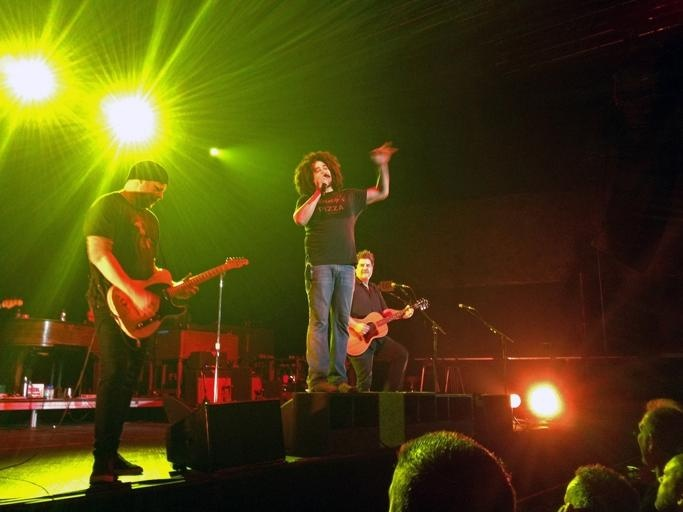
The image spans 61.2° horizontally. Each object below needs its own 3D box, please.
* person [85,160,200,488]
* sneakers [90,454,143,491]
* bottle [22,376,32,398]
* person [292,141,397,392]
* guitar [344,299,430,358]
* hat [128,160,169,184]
[{"bbox_3d":[-1.893,0.474,4.874,0.725,2.732,0.408,9,-20,-20],"label":"person"},{"bbox_3d":[-1.823,1.707,4.546,0.161,0.289,0.480,-20,-20,37],"label":"sneakers"},{"bbox_3d":[-5.118,2.117,9.344,0.125,0.366,0.561,11,-22,-26],"label":"bottle"},{"bbox_3d":[-0.051,0.063,6.113,0.975,2.779,0.656,4,-19,-6],"label":"person"},{"bbox_3d":[0.488,0.919,7.780,0.139,0.470,1.167,-19,7,45],"label":"guitar"},{"bbox_3d":[-1.707,-0.745,5.135,0.245,0.097,0.250,10,-6,38],"label":"hat"}]
